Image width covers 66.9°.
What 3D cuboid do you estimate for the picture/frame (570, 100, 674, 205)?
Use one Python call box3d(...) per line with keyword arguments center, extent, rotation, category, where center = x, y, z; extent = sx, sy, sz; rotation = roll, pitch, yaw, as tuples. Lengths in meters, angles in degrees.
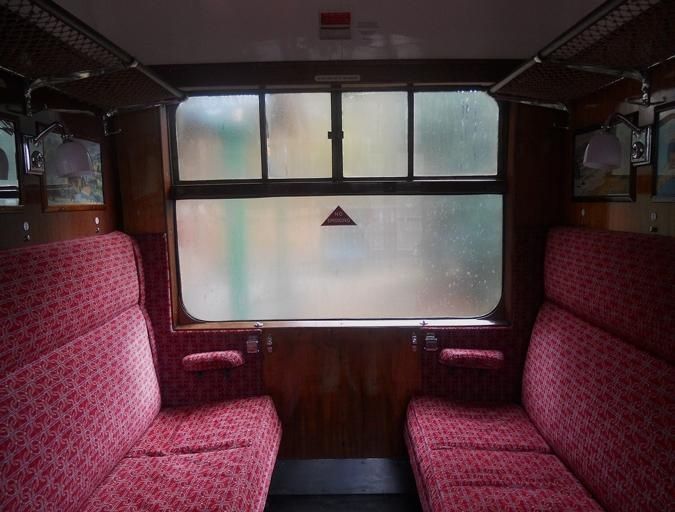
box3d(center=(1.739, -0.651, 3.366), extent=(0.411, 0.685, 0.920), rotation=(-1, 15, -3), category="picture/frame")
